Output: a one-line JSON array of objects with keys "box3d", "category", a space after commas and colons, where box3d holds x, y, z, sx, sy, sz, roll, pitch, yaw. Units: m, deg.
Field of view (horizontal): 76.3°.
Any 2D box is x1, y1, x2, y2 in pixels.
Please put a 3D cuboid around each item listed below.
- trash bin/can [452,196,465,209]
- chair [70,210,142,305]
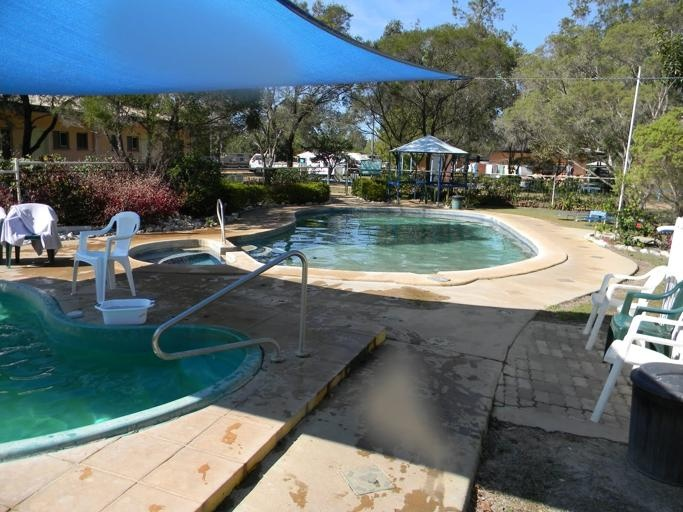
[{"box3d": [5.726, -2.611, 21.438, 0.740, 0.586, 0.670, -1, 5, -1], "category": "trash bin/can"}, {"box3d": [-3.300, -0.042, 6.086, 0.910, 1.016, 1.603, -4, 12, -24], "category": "chair"}]
